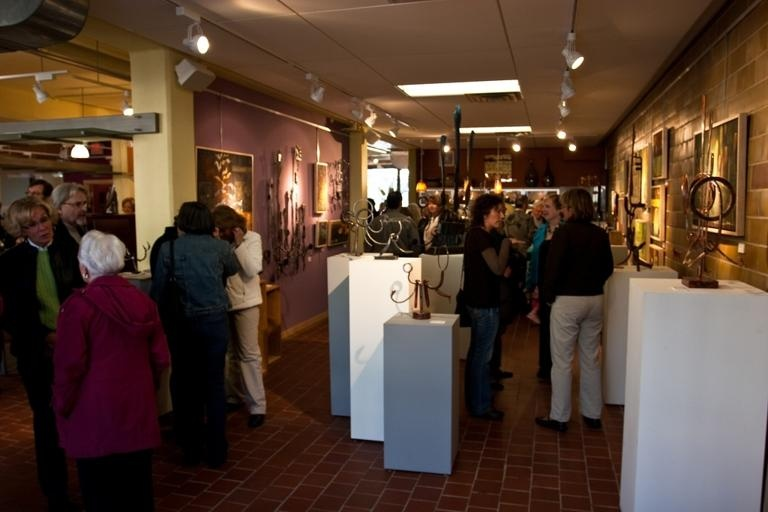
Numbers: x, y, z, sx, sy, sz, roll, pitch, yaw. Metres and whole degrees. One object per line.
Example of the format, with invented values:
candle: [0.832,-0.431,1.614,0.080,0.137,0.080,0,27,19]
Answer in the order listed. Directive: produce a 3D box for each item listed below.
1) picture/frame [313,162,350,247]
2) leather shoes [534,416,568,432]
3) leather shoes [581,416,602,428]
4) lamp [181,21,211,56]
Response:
picture/frame: [-0.998,-0.931,10.120,0.152,1.715,1.542,-1,2,22]
leather shoes: [1.699,1.688,5.614,0.303,0.130,0.124,17,18,37]
leather shoes: [2.107,1.675,5.605,0.079,0.085,0.189,-11,25,-36]
lamp: [-1.855,-2.074,5.296,0.261,0.276,0.190,12,13,13]
